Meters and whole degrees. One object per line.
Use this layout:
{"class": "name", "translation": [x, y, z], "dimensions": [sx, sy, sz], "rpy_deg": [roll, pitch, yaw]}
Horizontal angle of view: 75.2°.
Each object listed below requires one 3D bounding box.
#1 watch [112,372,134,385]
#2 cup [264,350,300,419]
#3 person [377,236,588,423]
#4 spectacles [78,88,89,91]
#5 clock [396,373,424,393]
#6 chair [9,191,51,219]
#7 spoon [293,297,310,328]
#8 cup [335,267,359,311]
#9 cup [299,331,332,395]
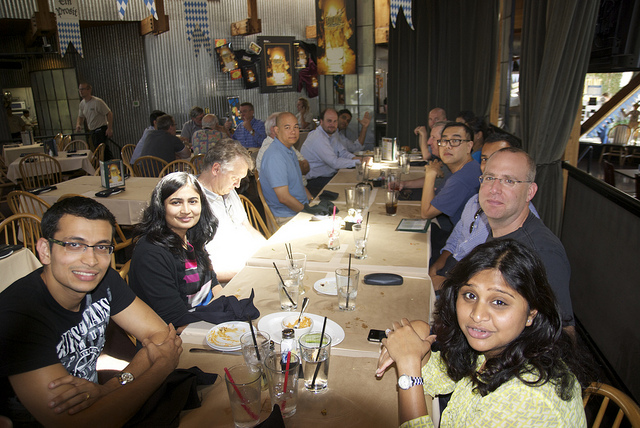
{"class": "watch", "translation": [-0.934, 0.776, 1.976], "dimensions": [0.089, 0.035, 0.053], "rpy_deg": [-3, 19, -6]}
{"class": "cup", "translation": [-0.154, 0.741, 1.808], "dimensions": [0.156, 0.242, 0.155], "rpy_deg": [1, 6, 0]}
{"class": "person", "translation": [0.650, 0.524, 1.759], "dimensions": [0.795, 0.779, 0.523], "rpy_deg": [1, 19, 8]}
{"class": "spectacles", "translation": [-5.047, -2.674, 8.884], "dimensions": [0.166, 0.052, 0.107], "rpy_deg": [-4, 19, -9]}
{"class": "clock", "translation": [0.383, 0.699, 1.754], "dimensions": [0.089, 0.054, 0.089], "rpy_deg": [-22, -28, 38]}
{"class": "chair", "translation": [-2.900, -0.104, 4.161], "dimensions": [0.252, 0.358, 0.274], "rpy_deg": [6, 13, 18]}
{"class": "spoon", "translation": [-0.089, 0.506, 2.161], "dimensions": [0.039, 0.198, 0.029], "rpy_deg": [18, 10, -19]}
{"class": "cup", "translation": [0.150, 0.437, 2.379], "dimensions": [0.143, 0.223, 0.146], "rpy_deg": [1, -3, 0]}
{"class": "cup", "translation": [-0.017, 0.663, 1.849], "dimensions": [0.135, 0.217, 0.135], "rpy_deg": [-1, 19, 0]}
